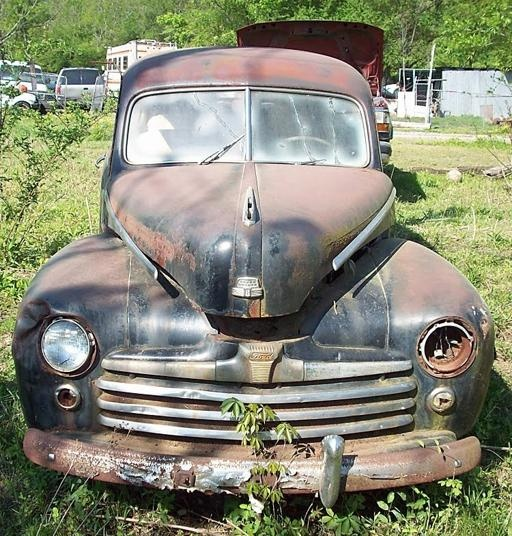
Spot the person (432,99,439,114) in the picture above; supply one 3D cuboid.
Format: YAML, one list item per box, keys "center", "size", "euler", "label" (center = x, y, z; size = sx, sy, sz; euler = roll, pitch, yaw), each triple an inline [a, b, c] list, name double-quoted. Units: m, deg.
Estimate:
- center: [8.991, -8.173, 30.747]
  size: [0.226, 0.870, 0.490]
  euler: [5, 17, 2]
  label: "person"
